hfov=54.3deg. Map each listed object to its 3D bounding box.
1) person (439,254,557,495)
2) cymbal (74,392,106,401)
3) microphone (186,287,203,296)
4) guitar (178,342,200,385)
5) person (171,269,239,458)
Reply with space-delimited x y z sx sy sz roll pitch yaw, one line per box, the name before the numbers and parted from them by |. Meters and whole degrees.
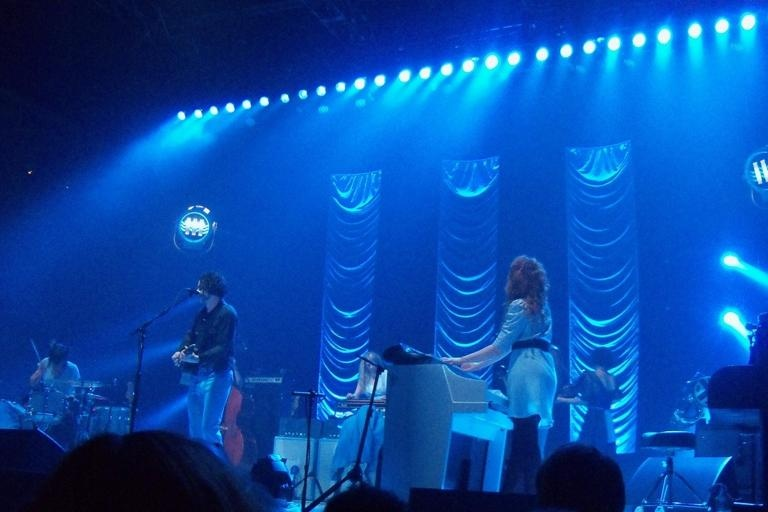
person | 1.718 1.743 10.369 1.329 3.425 0.955 -2 -5 39
cymbal | -5.419 2.573 13.804 0.292 0.092 0.302 5 -8 16
microphone | -3.031 0.580 11.990 0.256 0.108 0.265 3 1 -5
guitar | -2.952 1.652 11.338 0.118 0.538 0.394 8 -4 -29
person | -2.833 1.810 11.529 0.939 3.175 0.989 6 4 39
